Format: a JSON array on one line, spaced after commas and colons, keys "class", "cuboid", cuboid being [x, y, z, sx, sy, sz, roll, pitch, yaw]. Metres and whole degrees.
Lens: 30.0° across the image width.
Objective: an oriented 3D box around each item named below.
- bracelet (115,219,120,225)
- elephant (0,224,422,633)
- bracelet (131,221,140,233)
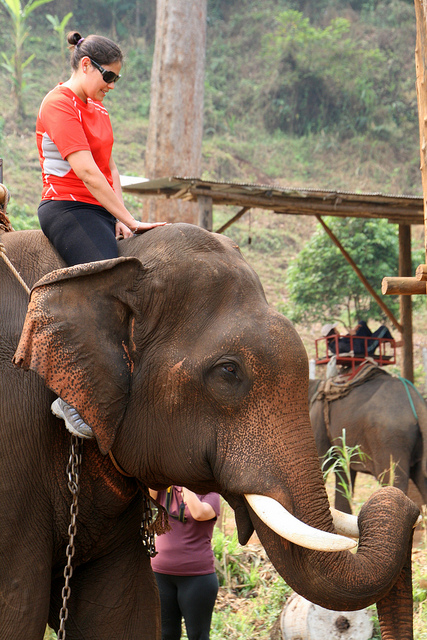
[{"class": "bracelet", "cuboid": [-0.289, -0.296, 2.387, 0.010, 0.014, 0.005, 7, 1, 10]}, {"class": "elephant", "cuboid": [-0.279, 0.288, 2.472, 1.596, 1.127, 0.736, 1, 0, 24]}, {"class": "bracelet", "cuboid": [-0.219, -0.262, 2.235, 0.006, 0.025, 0.025, 31, -23, 3]}]
